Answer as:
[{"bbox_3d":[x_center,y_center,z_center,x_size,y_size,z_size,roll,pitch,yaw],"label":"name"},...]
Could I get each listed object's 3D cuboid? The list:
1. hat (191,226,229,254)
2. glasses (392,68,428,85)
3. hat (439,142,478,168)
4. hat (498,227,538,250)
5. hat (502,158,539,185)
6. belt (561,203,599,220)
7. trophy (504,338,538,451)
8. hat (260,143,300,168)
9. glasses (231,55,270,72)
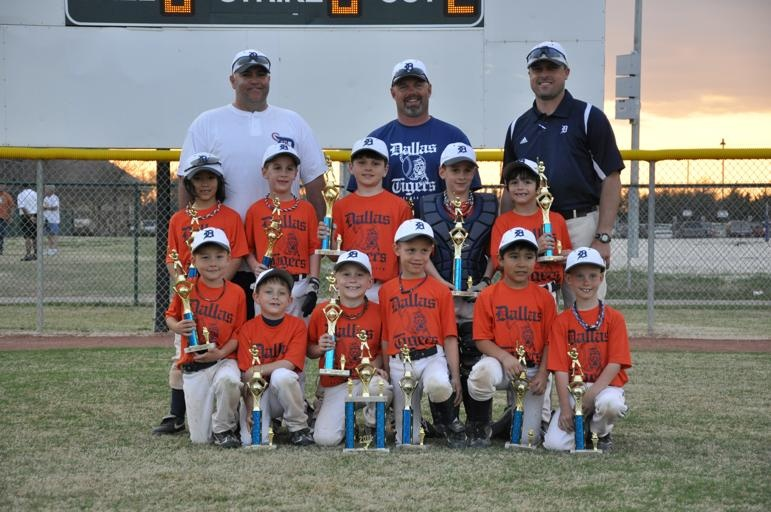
[{"bbox_3d":[-1.593,-0.127,9.285,0.303,0.230,0.496,0,-11,-7],"label":"hat"},{"bbox_3d":[0.240,-1.752,9.736,0.332,0.157,0.133,0,12,2],"label":"glasses"},{"bbox_3d":[0.696,-0.963,9.546,0.338,0.224,0.295,0,12,3],"label":"hat"},{"bbox_3d":[1.229,-0.154,9.212,0.352,0.205,0.265,1,12,7],"label":"hat"},{"bbox_3d":[1.292,-0.791,9.505,0.325,0.225,0.221,1,12,5],"label":"hat"},{"bbox_3d":[1.884,-0.412,9.675,0.380,0.124,0.068,-5,13,-18],"label":"belt"},{"bbox_3d":[1.237,1.272,9.088,0.271,0.908,0.362,1,12,8],"label":"trophy"},{"bbox_3d":[-1.016,-0.938,9.607,0.301,0.225,0.492,7,-7,-15],"label":"hat"},{"bbox_3d":[-1.296,-1.877,9.693,0.348,0.179,0.163,-3,12,-11],"label":"glasses"}]
